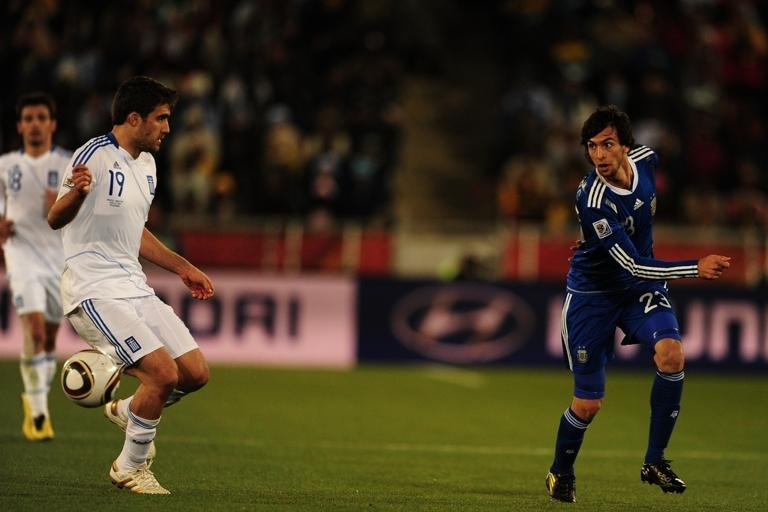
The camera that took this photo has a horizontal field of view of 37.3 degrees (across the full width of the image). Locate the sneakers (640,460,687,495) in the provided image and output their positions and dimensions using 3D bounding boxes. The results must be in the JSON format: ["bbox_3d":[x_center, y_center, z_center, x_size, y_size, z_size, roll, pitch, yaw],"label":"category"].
[{"bbox_3d":[2.680,2.093,10.815,0.225,0.248,0.576,0,7,-31],"label":"sneakers"}]

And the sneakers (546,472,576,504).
[{"bbox_3d":[1.717,2.229,10.967,0.278,0.235,0.324,3,7,9],"label":"sneakers"}]

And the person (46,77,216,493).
[{"bbox_3d":[-2.407,0.279,10.576,1.364,3.867,0.647,1,8,-6],"label":"person"}]

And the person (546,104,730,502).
[{"bbox_3d":[2.302,0.475,10.917,1.261,3.767,0.885,3,8,7],"label":"person"}]
